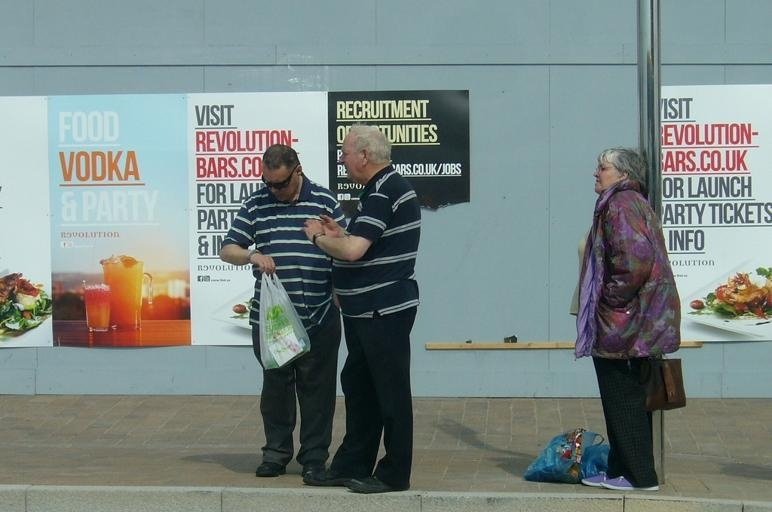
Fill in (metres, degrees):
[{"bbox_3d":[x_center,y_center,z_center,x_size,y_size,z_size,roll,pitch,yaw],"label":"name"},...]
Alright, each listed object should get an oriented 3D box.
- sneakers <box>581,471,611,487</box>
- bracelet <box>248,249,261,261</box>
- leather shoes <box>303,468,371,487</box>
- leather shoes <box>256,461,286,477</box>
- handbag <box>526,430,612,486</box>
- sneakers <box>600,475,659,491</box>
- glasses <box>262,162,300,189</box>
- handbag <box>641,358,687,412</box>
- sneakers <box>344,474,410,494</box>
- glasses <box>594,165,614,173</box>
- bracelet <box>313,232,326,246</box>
[{"bbox_3d":[2.010,2.162,11.252,0.248,0.106,0.104,0,-5,11],"label":"sneakers"},{"bbox_3d":[-1.304,-0.015,11.477,0.100,0.080,0.157,-3,2,-8],"label":"bracelet"},{"bbox_3d":[-0.490,2.158,11.276,0.573,0.261,0.221,4,-9,6],"label":"leather shoes"},{"bbox_3d":[-1.137,2.110,11.531,0.272,0.133,0.133,7,-10,-8],"label":"leather shoes"},{"bbox_3d":[1.781,1.974,11.416,0.599,0.311,0.532,-5,4,8],"label":"handbag"},{"bbox_3d":[2.326,2.178,11.097,0.492,0.162,0.188,4,-9,10],"label":"sneakers"},{"bbox_3d":[-1.016,-0.749,11.377,0.205,0.086,0.291,1,40,24],"label":"glasses"},{"bbox_3d":[2.613,1.228,11.085,0.456,0.634,0.285,-3,-9,-4],"label":"handbag"},{"bbox_3d":[-0.108,2.220,11.073,0.530,0.190,0.202,8,-15,-3],"label":"sneakers"},{"bbox_3d":[2.097,-0.844,11.272,0.087,0.053,0.087,4,-2,-5],"label":"glasses"},{"bbox_3d":[-0.622,-0.156,10.994,0.065,0.108,0.108,6,27,-11],"label":"bracelet"}]
